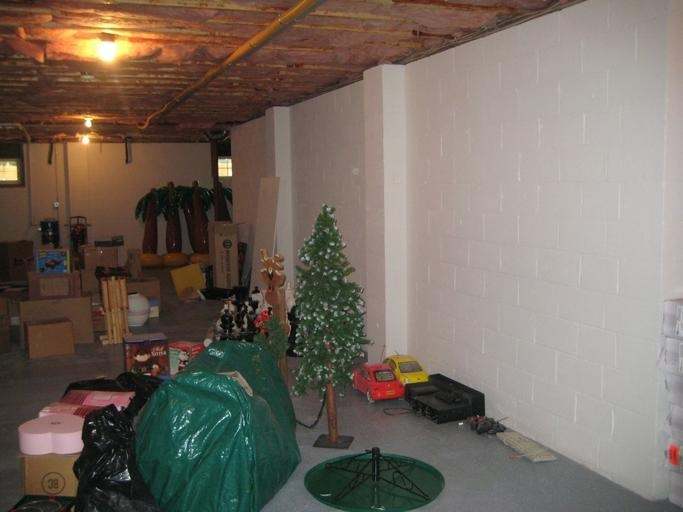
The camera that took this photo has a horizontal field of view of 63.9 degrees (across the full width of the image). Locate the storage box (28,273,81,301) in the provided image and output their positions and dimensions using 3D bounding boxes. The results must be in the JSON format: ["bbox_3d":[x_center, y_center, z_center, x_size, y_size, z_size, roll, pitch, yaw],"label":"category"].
[{"bbox_3d":[-4.305,0.450,8.179,0.695,0.448,0.377,1,-9,-29],"label":"storage box"}]

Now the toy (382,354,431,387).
[{"bbox_3d":[0.746,1.292,6.166,0.227,0.225,0.424,-3,0,-19],"label":"toy"}]

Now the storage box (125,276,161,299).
[{"bbox_3d":[-3.547,0.570,9.774,0.601,0.344,0.562,3,0,-25],"label":"storage box"}]

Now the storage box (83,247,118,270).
[{"bbox_3d":[-4.481,0.050,10.205,0.692,0.400,0.493,3,-5,-28],"label":"storage box"}]

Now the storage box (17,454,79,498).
[{"bbox_3d":[-2.130,1.598,3.985,0.352,0.381,0.231,-1,-2,2],"label":"storage box"}]

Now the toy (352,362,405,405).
[{"bbox_3d":[0.394,1.396,6.162,0.349,0.308,0.649,-3,9,-20],"label":"toy"}]

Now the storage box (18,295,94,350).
[{"bbox_3d":[-4.194,1.101,7.825,0.789,0.393,0.832,0,2,12],"label":"storage box"}]

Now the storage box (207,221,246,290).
[{"bbox_3d":[-2.502,-0.030,11.530,0.535,1.336,1.029,-7,11,-30],"label":"storage box"}]
